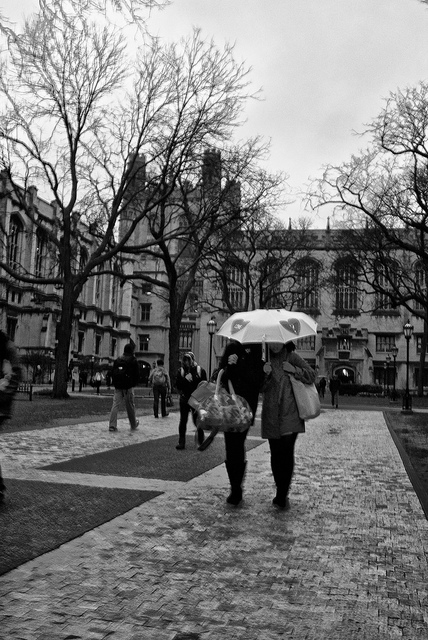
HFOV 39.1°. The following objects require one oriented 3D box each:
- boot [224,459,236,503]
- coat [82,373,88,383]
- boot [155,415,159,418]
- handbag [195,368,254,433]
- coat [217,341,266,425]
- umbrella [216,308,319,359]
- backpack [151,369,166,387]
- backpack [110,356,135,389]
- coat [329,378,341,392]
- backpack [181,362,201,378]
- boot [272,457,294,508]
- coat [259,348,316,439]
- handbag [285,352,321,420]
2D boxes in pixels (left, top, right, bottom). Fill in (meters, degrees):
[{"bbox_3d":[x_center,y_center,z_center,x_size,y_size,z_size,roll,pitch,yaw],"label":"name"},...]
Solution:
[{"bbox_3d":[0.160,1.661,6.251,0.084,0.431,0.183,2,-4,-15],"label":"boot"},{"bbox_3d":[-9.832,4.389,45.722,0.357,0.725,1.847,3,-5,-16],"label":"coat"},{"bbox_3d":[-1.749,2.931,18.365,0.107,0.092,0.281,2,-5,-3],"label":"boot"},{"bbox_3d":[0.112,0.793,6.200,0.593,0.897,0.362,11,-39,-16],"label":"handbag"},{"bbox_3d":[0.278,0.654,6.315,0.522,1.012,0.462,8,-22,-15],"label":"coat"},{"bbox_3d":[0.546,0.078,6.455,0.617,0.521,0.706,-1,-2,-1],"label":"umbrella"},{"bbox_3d":[-1.574,1.637,17.053,0.430,0.437,0.731,0,19,-3],"label":"backpack"},{"bbox_3d":[-2.010,1.164,13.260,0.495,0.704,0.352,3,-4,-13],"label":"backpack"},{"bbox_3d":[6.176,3.376,31.214,0.728,1.088,0.513,0,-6,11],"label":"coat"},{"bbox_3d":[-0.379,0.938,10.918,0.192,0.348,0.312,3,7,12],"label":"backpack"},{"bbox_3d":[0.687,1.662,6.184,0.193,0.497,0.163,1,-4,8],"label":"boot"},{"bbox_3d":[0.715,0.742,6.413,0.601,1.189,0.325,-3,-33,20],"label":"coat"},{"bbox_3d":[0.916,0.790,6.273,0.325,0.475,0.305,2,-4,0],"label":"handbag"}]
